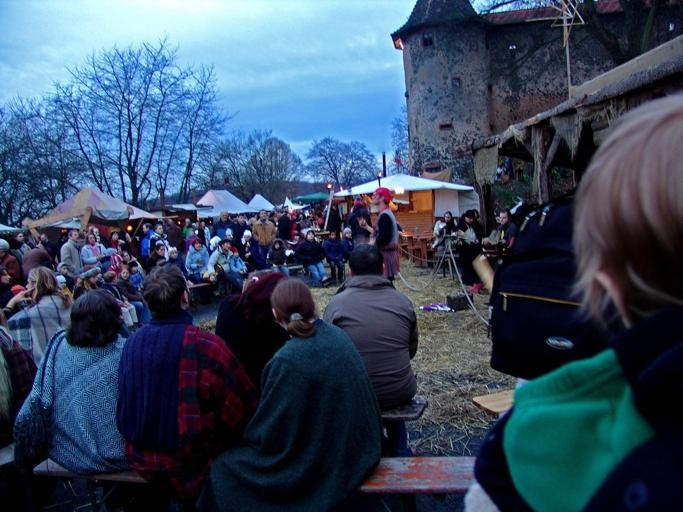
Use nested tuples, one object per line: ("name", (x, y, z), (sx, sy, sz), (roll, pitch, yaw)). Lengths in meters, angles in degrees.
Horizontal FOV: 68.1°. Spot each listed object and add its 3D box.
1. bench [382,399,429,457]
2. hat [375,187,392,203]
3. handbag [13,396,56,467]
("bench", (0.436, 1.166, 3.529), (0.310, 0.407, 0.375), (-4, 2, 1))
("hat", (0.602, -0.950, 7.652), (0.185, 0.244, 0.258), (7, 15, -24))
("handbag", (-1.874, 1.068, 3.091), (0.097, 0.419, 0.221), (-1, -5, -39))
